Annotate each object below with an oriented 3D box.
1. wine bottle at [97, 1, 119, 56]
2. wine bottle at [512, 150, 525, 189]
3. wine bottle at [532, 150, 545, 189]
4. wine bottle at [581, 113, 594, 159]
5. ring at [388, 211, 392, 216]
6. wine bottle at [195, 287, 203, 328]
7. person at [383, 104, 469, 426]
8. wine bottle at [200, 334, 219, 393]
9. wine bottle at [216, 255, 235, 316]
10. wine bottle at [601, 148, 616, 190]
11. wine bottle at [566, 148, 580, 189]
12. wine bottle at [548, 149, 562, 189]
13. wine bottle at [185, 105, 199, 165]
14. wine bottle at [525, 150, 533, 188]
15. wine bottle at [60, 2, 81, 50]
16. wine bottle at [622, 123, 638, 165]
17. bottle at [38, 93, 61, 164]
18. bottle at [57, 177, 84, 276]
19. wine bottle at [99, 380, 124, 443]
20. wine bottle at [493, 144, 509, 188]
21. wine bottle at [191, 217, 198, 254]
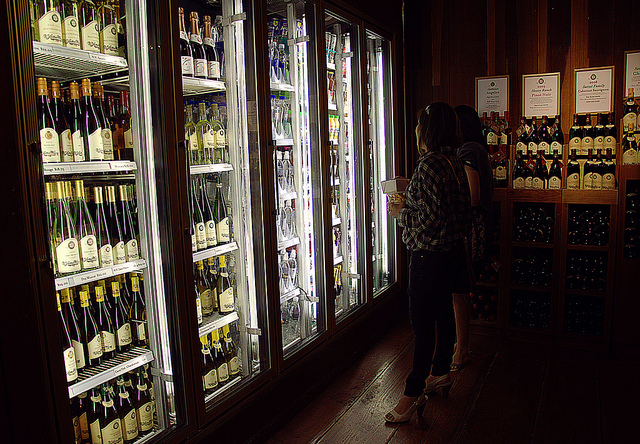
[{"bbox_3d":[-1.173,-1.074,2.701,0.094,0.290,0.104,-5,13,-15],"label":"wine bottle"},{"bbox_3d":[1.847,-0.467,4.528,0.129,0.397,0.144,-6,12,15],"label":"wine bottle"},{"bbox_3d":[1.961,-0.482,4.389,0.105,0.324,0.099,-2,13,0],"label":"wine bottle"},{"bbox_3d":[2.351,-0.732,4.316,0.117,0.514,0.104,20,-16,-41],"label":"wine bottle"},{"bbox_3d":[0.528,-0.070,3.736,0.026,0.029,0.016,28,-26,-14],"label":"ring"},{"bbox_3d":[-0.772,0.562,3.126,0.025,0.182,0.269,-5,15,-13],"label":"wine bottle"},{"bbox_3d":[0.753,0.245,3.502,0.525,2.110,0.966,1,13,12],"label":"person"},{"bbox_3d":[-0.722,0.925,3.200,0.093,0.339,0.189,-5,14,-15],"label":"wine bottle"},{"bbox_3d":[-0.648,0.410,3.296,0.115,0.379,0.199,-4,14,-12],"label":"wine bottle"},{"bbox_3d":[2.454,-0.459,4.160,0.101,0.324,0.182,6,15,30],"label":"wine bottle"},{"bbox_3d":[2.220,-0.478,4.288,0.104,0.336,0.137,5,15,27],"label":"wine bottle"},{"bbox_3d":[2.082,-0.475,4.331,0.113,0.326,0.095,6,15,31],"label":"wine bottle"},{"bbox_3d":[-0.829,-0.569,3.164,0.070,0.375,0.132,-6,14,-19],"label":"wine bottle"},{"bbox_3d":[1.894,-0.492,4.448,0.064,0.327,0.128,3,14,21],"label":"wine bottle"},{"bbox_3d":[-1.321,-1.045,2.586,0.092,0.235,0.089,-2,13,0],"label":"wine bottle"},{"bbox_3d":[2.585,-0.662,4.095,0.118,0.319,0.123,-2,13,0],"label":"wine bottle"},{"bbox_3d":[-1.423,-0.497,2.565,0.086,0.350,0.251,-8,15,-28],"label":"bottle"},{"bbox_3d":[-1.375,0.011,2.647,0.125,0.491,0.362,-8,15,-27],"label":"bottle"},{"bbox_3d":[-1.207,1.105,2.791,0.102,0.339,0.100,-2,13,0],"label":"wine bottle"},{"bbox_3d":[1.681,-0.527,4.539,0.140,0.380,0.098,3,14,21],"label":"wine bottle"},{"bbox_3d":[-0.792,0.097,3.071,0.030,0.159,0.197,-5,15,-14],"label":"wine bottle"}]
